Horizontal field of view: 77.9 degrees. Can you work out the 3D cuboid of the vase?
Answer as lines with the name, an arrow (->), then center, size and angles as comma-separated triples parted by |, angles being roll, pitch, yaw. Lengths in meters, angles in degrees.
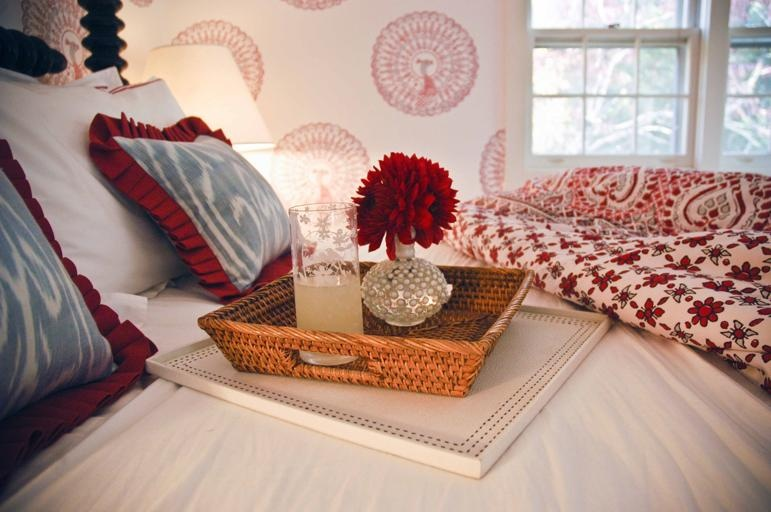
vase -> 0.039, 0.035, 1.029 | 0.183, 0.172, 0.177 | -6, 7, -40

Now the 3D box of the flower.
flower -> 0.038, -0.085, 1.015 | 0.210, 0.205, 0.178 | 3, -16, -1
